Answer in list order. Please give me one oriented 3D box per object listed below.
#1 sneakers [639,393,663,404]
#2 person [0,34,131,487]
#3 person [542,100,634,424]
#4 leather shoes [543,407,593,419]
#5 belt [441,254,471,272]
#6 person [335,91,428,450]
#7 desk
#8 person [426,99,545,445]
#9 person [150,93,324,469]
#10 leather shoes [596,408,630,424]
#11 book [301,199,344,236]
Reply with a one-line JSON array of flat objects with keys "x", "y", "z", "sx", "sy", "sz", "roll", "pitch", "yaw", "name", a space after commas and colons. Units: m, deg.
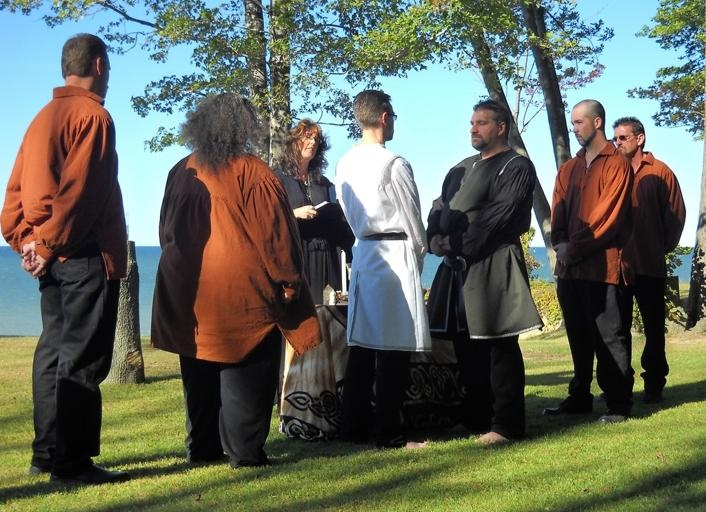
[{"x": 2.884, "y": 1.376, "z": 6.553, "sx": 0.190, "sy": 0.084, "sz": 0.115, "roll": -6, "pitch": -3, "yaw": 19, "name": "sneakers"}, {"x": -1.971, "y": -0.004, "z": 4.709, "sx": 0.887, "sy": 3.122, "sz": 0.545, "roll": -5, "pitch": -3, "yaw": -3, "name": "person"}, {"x": 2.148, "y": 0.007, "z": 6.144, "sx": 0.570, "sy": 2.596, "sz": 0.676, "roll": -4, "pitch": -3, "yaw": -26, "name": "person"}, {"x": 1.985, "y": 1.417, "z": 6.238, "sx": 0.455, "sy": 0.171, "sz": 0.150, "roll": 1, "pitch": -8, "yaw": 1, "name": "leather shoes"}, {"x": 0.851, "y": 0.058, "z": 5.547, "sx": 0.173, "sy": 0.067, "sz": 0.122, "roll": 14, "pitch": -4, "yaw": 22, "name": "belt"}, {"x": 0.201, "y": 0.072, "z": 5.429, "sx": 0.812, "sy": 2.044, "sz": 0.563, "roll": -5, "pitch": -3, "yaw": -3, "name": "person"}, {"x": 0.264, "y": 1.088, "z": 6.088, "sx": 1.653, "sy": 1.096, "sz": 0.950, "roll": 11, "pitch": -24, "yaw": -41, "name": "desk"}, {"x": 1.076, "y": 0.085, "z": 5.543, "sx": 0.945, "sy": 2.255, "sz": 0.575, "roll": -6, "pitch": -3, "yaw": 15, "name": "person"}, {"x": -0.861, "y": 0.153, "z": 4.783, "sx": 1.118, "sy": 2.677, "sz": 0.334, "roll": -5, "pitch": -3, "yaw": 3, "name": "person"}, {"x": 2.220, "y": 1.385, "z": 5.787, "sx": 0.312, "sy": 0.127, "sz": 0.113, "roll": -5, "pitch": 6, "yaw": -12, "name": "leather shoes"}, {"x": -0.270, "y": -0.323, "z": 6.120, "sx": 0.326, "sy": 0.084, "sz": 0.333, "roll": 12, "pitch": -33, "yaw": -40, "name": "book"}]
